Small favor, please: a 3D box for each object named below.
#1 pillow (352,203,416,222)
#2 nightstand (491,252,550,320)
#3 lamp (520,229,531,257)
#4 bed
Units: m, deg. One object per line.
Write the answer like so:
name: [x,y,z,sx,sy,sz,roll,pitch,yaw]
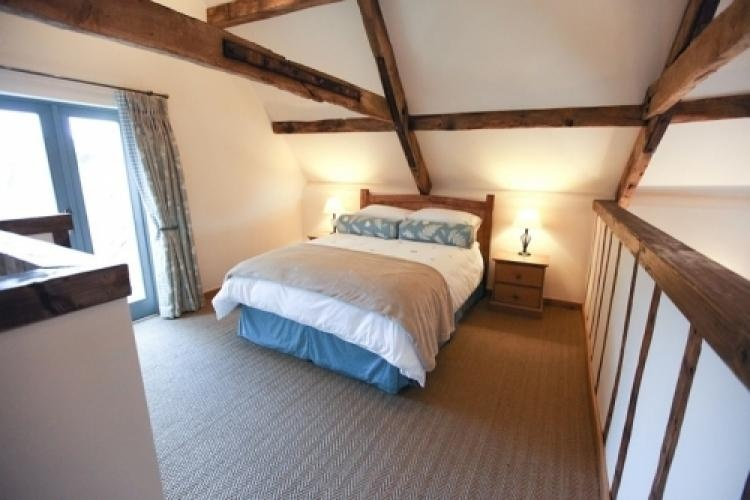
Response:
pillow: [0.100,-0.468,5.940,0.386,0.097,0.329,9,19,28]
nightstand: [1.539,0.300,5.379,0.698,0.703,0.554,5,17,27]
lamp: [1.670,-0.103,5.367,0.117,0.298,0.279,4,12,16]
bed: [0.019,0.168,5.055,2.084,1.424,2.597,7,13,27]
